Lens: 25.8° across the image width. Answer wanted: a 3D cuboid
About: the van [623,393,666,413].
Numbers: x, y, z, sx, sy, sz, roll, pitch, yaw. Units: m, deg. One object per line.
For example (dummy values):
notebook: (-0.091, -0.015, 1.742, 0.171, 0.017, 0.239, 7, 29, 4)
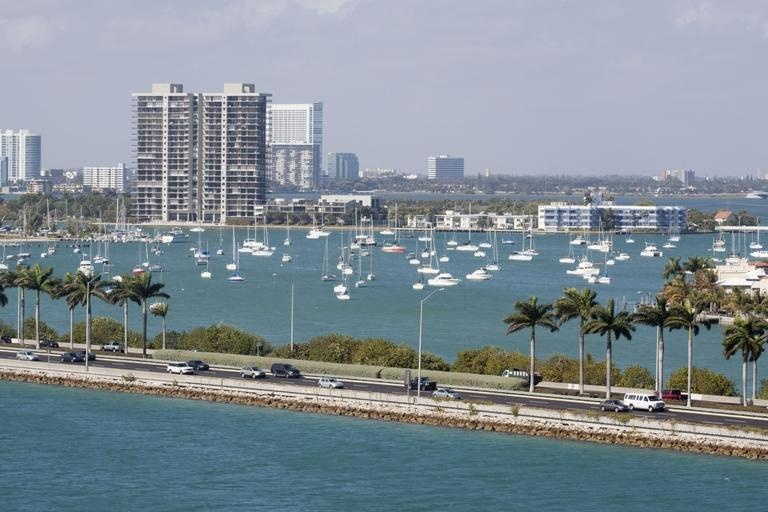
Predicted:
van: (34.534, 19.812, 223.636, 4.321, 1.698, 2.591, 1, 5, 25)
